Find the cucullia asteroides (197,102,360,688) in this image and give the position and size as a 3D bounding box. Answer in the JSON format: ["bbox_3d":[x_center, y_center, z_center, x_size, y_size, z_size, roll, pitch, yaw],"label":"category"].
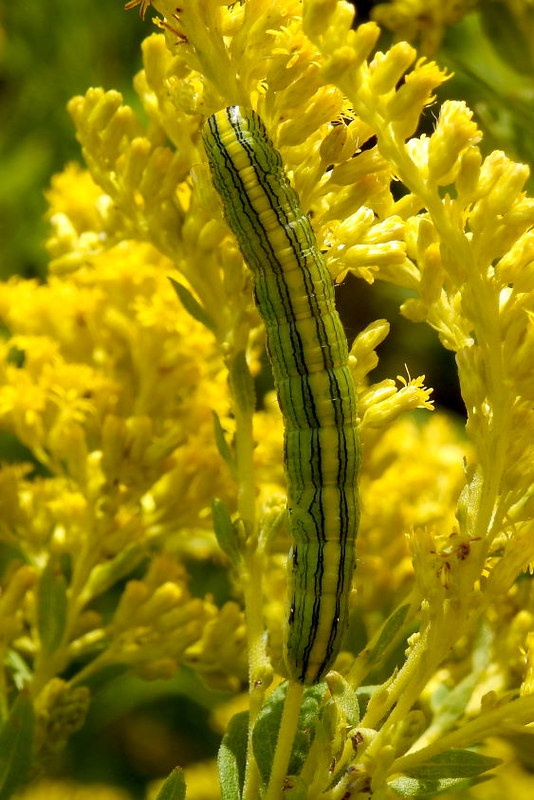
[{"bbox_3d":[0.010,0.002,0.560,0.073,0.321,0.058,-8,8,30],"label":"cucullia asteroides"}]
